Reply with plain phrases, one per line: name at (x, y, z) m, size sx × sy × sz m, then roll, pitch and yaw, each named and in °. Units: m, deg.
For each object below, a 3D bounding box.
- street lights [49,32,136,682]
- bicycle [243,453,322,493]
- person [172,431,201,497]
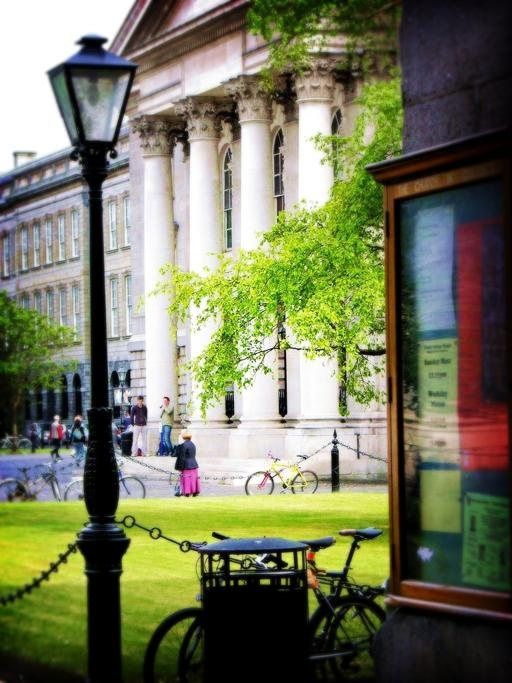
street lights at (-1.004, 0.099, 6.686) m, size 0.538 × 4.132 × 0.678 m, roll -1°, pitch -2°, yaw -11°
bicycle at (0.496, 2.733, 21.942) m, size 1.443 × 0.996 × 0.740 m, roll 1°, pitch -3°, yaw -8°
person at (-1.314, 2.353, 20.226) m, size 0.443 × 1.304 × 1.338 m, roll -1°, pitch -3°, yaw -4°
